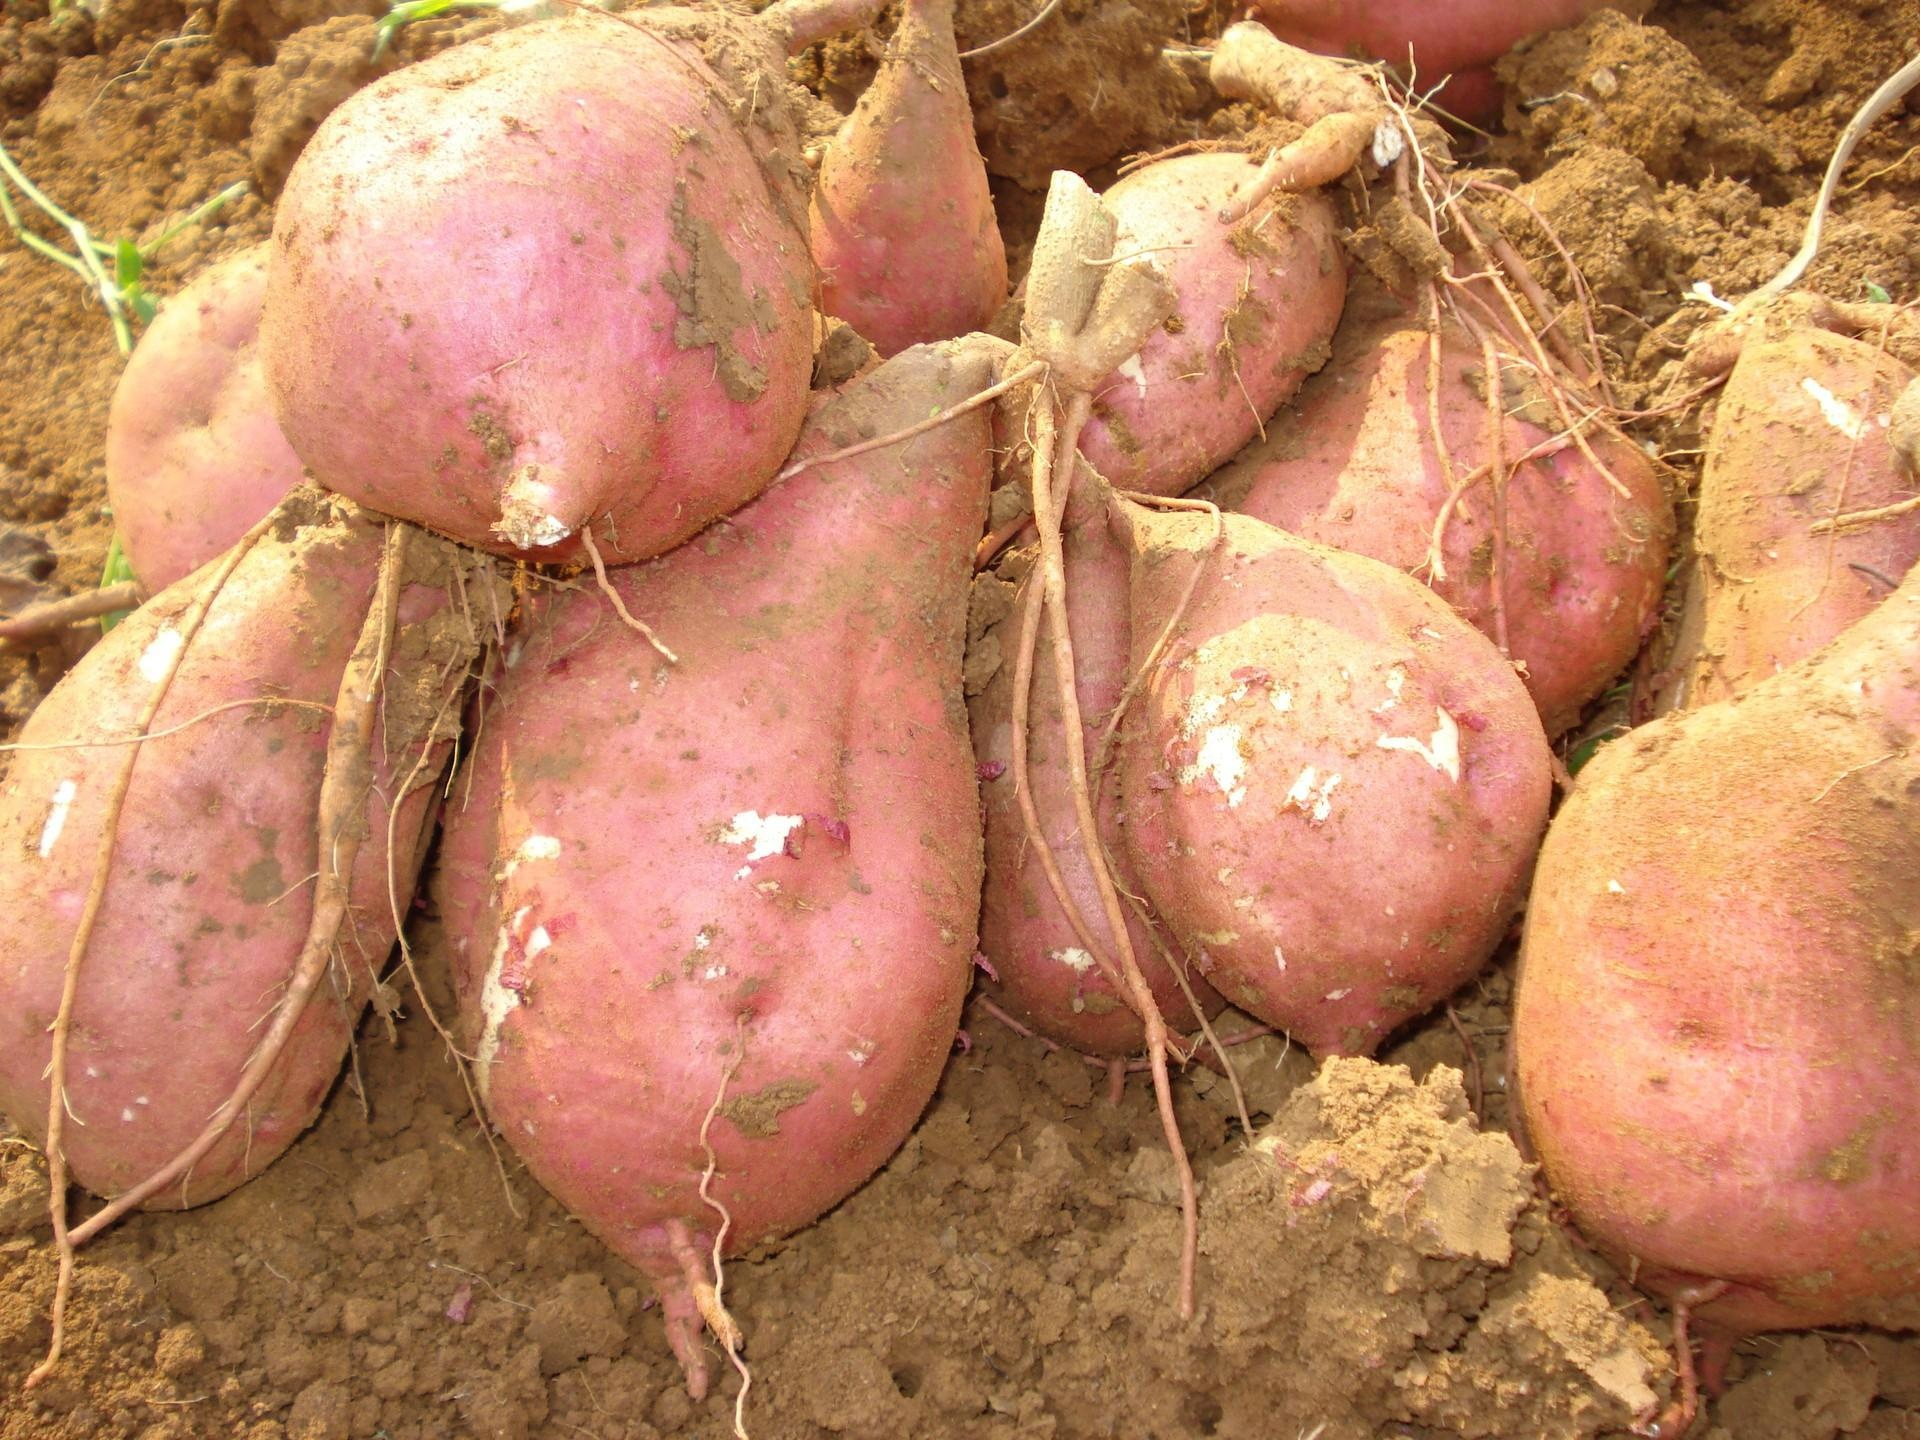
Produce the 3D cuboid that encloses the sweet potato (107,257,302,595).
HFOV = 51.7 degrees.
[{"bbox_3d":[-1.318,-0.487,3.478,0.402,0.276,0.579,21,92,49],"label":"sweet potato"}]
